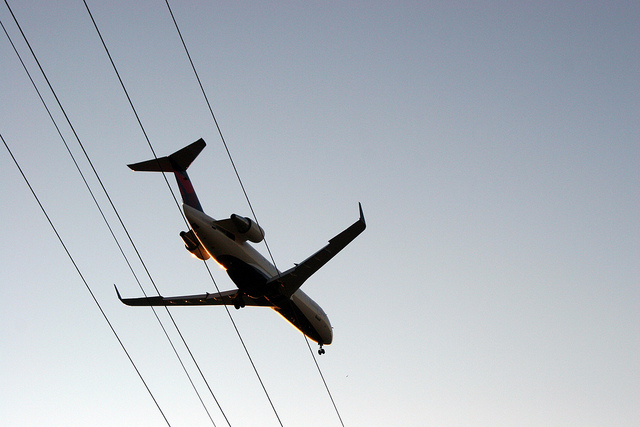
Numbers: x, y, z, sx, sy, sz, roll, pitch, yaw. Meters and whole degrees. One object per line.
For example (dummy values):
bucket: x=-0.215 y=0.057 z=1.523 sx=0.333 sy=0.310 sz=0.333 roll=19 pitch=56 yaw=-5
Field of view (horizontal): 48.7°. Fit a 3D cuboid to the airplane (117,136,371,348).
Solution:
airplane: x=-2.604 y=2.778 z=29.149 sx=8.706 sy=2.606 sz=9.461 roll=-27 pitch=-53 yaw=23
